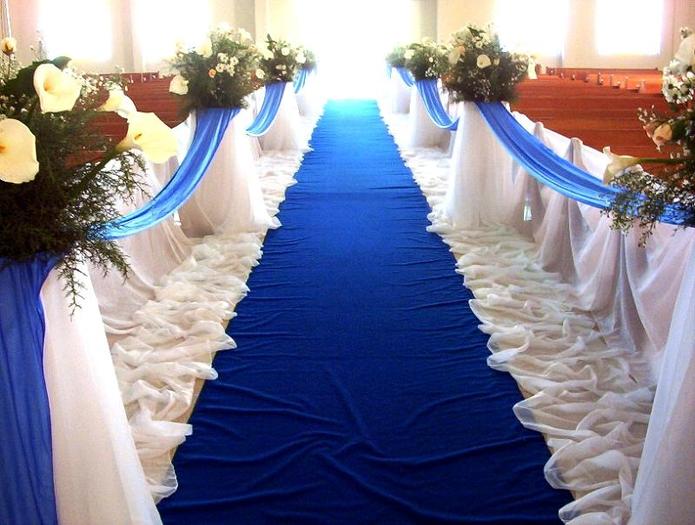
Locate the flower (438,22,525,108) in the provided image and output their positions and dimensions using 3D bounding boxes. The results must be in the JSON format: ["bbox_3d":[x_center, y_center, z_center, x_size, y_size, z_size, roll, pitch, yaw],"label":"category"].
[{"bbox_3d":[1.338,-1.901,4.748,0.743,0.793,0.648,3,28,18],"label":"flower"}]

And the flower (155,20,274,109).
[{"bbox_3d":[-1.167,-1.732,4.353,0.776,0.592,0.791,6,24,13],"label":"flower"}]
